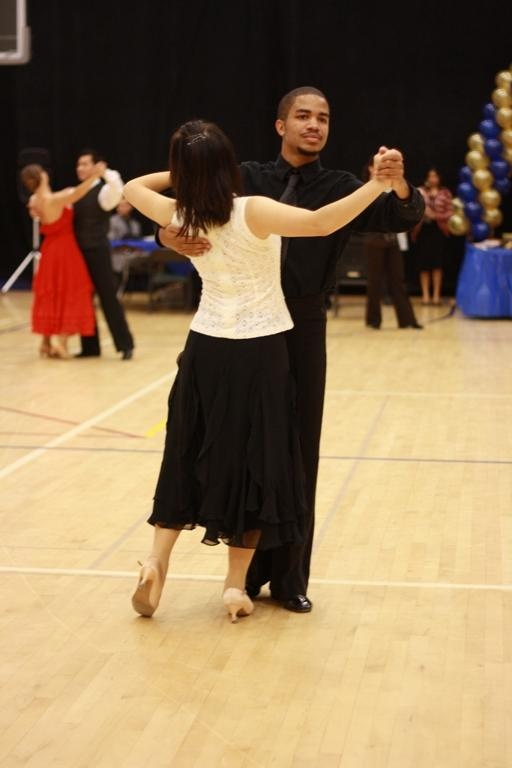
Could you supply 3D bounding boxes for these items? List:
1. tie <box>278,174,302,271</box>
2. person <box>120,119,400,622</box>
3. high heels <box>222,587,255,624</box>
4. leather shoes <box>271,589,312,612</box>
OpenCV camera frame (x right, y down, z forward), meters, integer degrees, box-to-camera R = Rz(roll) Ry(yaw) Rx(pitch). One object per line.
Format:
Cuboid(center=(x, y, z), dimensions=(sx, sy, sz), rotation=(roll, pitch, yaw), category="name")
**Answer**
Cuboid(center=(0.091, -0.397, 1.635), dimensions=(0.037, 0.246, 0.027), rotation=(8, -21, 13), category="tie")
Cuboid(center=(-0.008, 0.004, 1.531), dimensions=(0.742, 1.167, 0.316), rotation=(-1, -1, 34), category="person")
Cuboid(center=(-0.051, 0.561, 1.708), dimensions=(0.051, 0.049, 0.107), rotation=(0, -1, 8), category="high heels")
Cuboid(center=(0.096, 0.574, 1.817), dimensions=(0.042, 0.043, 0.112), rotation=(-2, 1, -43), category="leather shoes")
